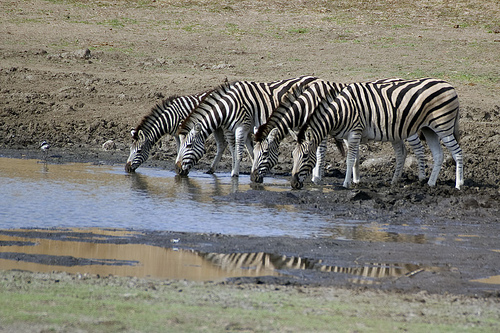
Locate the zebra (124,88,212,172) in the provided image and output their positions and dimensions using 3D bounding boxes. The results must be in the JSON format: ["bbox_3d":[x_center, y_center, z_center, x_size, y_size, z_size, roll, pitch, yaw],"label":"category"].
[{"bbox_3d":[-2.336,-0.946,25.993,2.774,1.458,0.691,-36,44,-13],"label":"zebra"}]
